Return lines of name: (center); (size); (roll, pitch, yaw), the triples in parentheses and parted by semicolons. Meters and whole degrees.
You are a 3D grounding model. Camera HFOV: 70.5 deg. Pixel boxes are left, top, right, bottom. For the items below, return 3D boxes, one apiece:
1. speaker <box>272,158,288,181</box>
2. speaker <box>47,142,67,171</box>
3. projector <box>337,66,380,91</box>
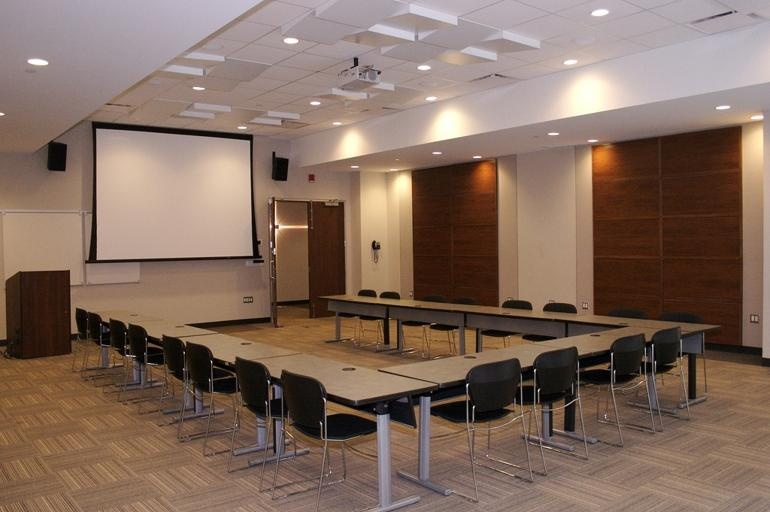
speaker: (-2.671, -2.255, 14.041); (0.472, 0.604, 0.312); (-1, 2, -28)
speaker: (-6.907, -2.102, 11.469); (0.327, 0.606, 0.217); (-1, 2, -20)
projector: (-0.444, -2.887, 8.726); (0.376, 0.212, 0.553); (1, -1, -31)
